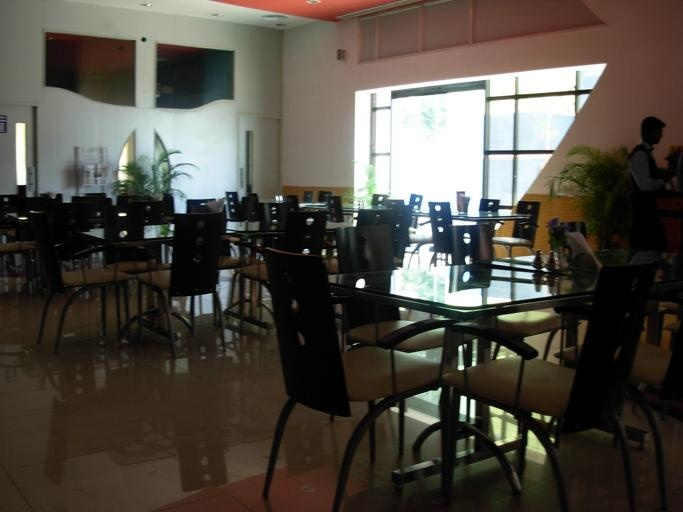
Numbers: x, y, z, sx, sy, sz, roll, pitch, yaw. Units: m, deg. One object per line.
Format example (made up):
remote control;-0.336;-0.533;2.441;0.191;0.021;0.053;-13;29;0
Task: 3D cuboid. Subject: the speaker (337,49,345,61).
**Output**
speaker;-0.012;-4.778;12.915;0.262;0.287;0.260;9;18;26

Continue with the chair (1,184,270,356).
chair;-1.998;0.118;4.821;1.312;1.094;2.061;-7;11;-35

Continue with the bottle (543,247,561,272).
bottle;1.195;0.025;3.081;0.103;0.133;0.103;-2;6;0

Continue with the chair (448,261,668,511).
chair;0.915;0.547;2.344;0.802;1.122;0.663;-7;11;-38

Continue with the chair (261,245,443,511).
chair;0.025;0.512;2.389;0.673;1.134;0.507;-6;10;-32

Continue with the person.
person;3.603;-0.834;6.399;0.422;1.519;0.908;5;10;30
